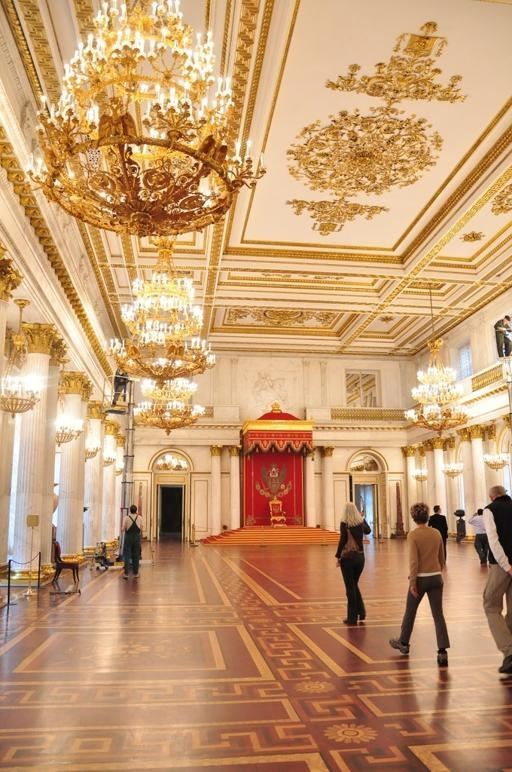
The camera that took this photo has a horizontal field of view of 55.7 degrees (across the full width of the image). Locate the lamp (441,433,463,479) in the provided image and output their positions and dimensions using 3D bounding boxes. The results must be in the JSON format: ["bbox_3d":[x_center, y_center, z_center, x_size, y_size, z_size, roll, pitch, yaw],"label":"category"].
[{"bbox_3d":[8.731,3.043,21.505,0.833,1.990,3.816,1,-13,21],"label":"lamp"}]

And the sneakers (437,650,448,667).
[{"bbox_3d":[1.539,2.252,3.995,0.081,0.128,0.132,1,-3,16],"label":"sneakers"}]

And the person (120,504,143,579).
[{"bbox_3d":[-2.605,3.310,10.191,0.390,1.363,0.997,7,-12,-5],"label":"person"}]

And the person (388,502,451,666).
[{"bbox_3d":[1.532,1.766,4.498,0.492,1.320,0.956,1,-13,21],"label":"person"}]

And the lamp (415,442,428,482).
[{"bbox_3d":[8.537,3.958,25.032,0.538,1.879,1.907,1,-13,19],"label":"lamp"}]

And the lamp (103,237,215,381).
[{"bbox_3d":[-1.870,-1.584,10.372,1.940,2.581,2.605,8,-12,-12],"label":"lamp"}]

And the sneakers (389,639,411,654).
[{"bbox_3d":[1.283,2.316,4.348,0.076,0.095,0.205,2,6,-17],"label":"sneakers"}]

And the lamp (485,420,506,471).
[{"bbox_3d":[9.423,2.374,19.104,0.795,1.948,2.332,0,-13,26],"label":"lamp"}]
